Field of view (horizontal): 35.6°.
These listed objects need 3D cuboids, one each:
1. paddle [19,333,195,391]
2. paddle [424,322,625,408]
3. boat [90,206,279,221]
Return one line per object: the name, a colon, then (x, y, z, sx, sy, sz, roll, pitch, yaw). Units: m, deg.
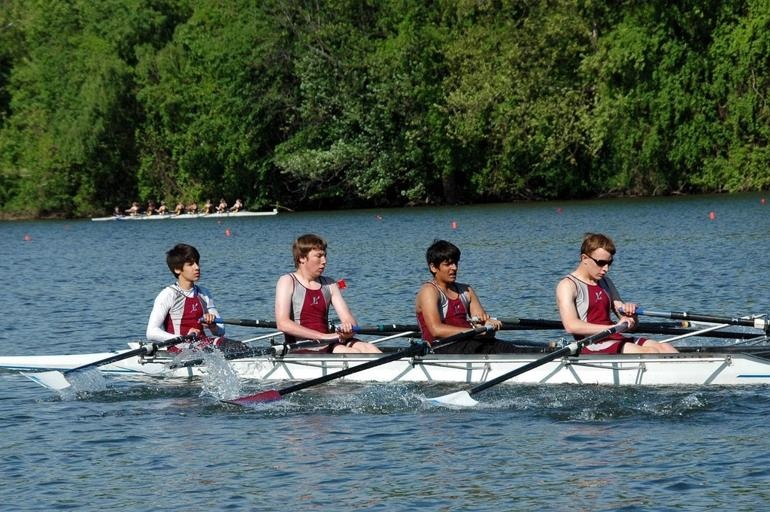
paddle: (-5.851, 2.299, 25.663, 2.524, 0.658, 0.163, -16, 41, -13)
paddle: (2.814, 2.260, 24.396, 2.876, 0.242, 0.671, -22, 0, -11)
boat: (-10.726, -2.234, 65.566, 10.556, 0.503, 2.776, -2, 3, 17)
